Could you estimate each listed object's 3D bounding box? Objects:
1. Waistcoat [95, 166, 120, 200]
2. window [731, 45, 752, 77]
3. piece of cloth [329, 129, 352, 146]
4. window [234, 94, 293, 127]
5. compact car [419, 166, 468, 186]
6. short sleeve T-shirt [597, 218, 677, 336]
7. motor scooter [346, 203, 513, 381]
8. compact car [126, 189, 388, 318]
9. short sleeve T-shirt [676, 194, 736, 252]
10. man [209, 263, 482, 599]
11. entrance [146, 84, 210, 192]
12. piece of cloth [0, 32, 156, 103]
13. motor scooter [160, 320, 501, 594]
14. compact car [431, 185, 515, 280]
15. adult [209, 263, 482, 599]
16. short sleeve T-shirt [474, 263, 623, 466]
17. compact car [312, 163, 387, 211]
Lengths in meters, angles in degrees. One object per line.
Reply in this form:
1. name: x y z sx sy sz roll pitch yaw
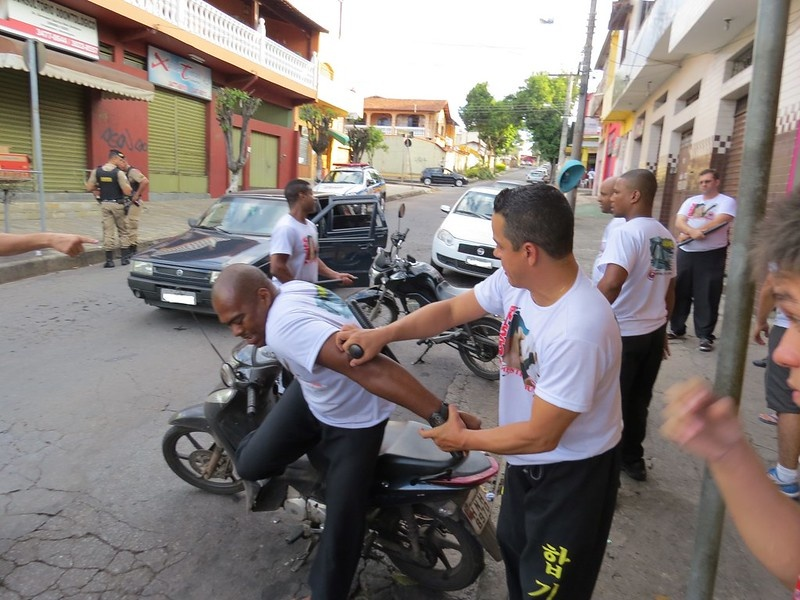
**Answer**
1. Waistcoat: -5.558 -2.220 9.622 0.560 0.630 0.216 5 17 16
2. window: 6.968 -4.957 10.466 0.230 0.490 1.043 7 15 20
3. piece of cloth: -3.956 -9.804 30.292 1.719 0.344 1.487 12 32 -5
4. window: -6.016 -8.398 22.055 0.780 1.038 4.856 -7 15 22
5. compact car: 3.365 -10.071 40.649 3.919 1.214 1.740 -1 17 -1
6. short sleeve T-shirt: 1.579 -0.158 3.412 0.968 0.643 0.338 -15 24 -36
7. motor scooter: 0.357 -0.044 6.046 2.604 1.523 1.186 13 24 40
8. compact car: -2.082 -0.802 8.023 2.327 1.370 3.886 11 16 36
9. short sleeve T-shirt: 4.024 -1.059 6.745 0.497 0.719 0.789 -18 22 -16
10. man: -0.333 0.814 2.878 0.935 1.779 1.534 -9 37 -25
11. entrance: -8.019 -6.205 18.346 4.646 3.369 0.298 19 21 38
12. piece of cloth: -8.321 -5.811 12.797 1.891 0.752 4.522 2 14 7
13. motor scooter: -0.456 0.961 2.870 2.160 1.107 0.977 16 28 25
14. compact car: 1.566 -1.489 10.567 1.459 1.094 2.587 5 12 15
15. adult: -0.333 0.814 2.878 0.935 1.779 1.535 -9 37 -25
16. short sleeve T-shirt: 0.569 0.323 2.186 0.436 0.912 0.620 -15 22 -42
17. compact car: -2.345 -4.990 21.433 4.326 1.574 2.075 -2 24 -17
